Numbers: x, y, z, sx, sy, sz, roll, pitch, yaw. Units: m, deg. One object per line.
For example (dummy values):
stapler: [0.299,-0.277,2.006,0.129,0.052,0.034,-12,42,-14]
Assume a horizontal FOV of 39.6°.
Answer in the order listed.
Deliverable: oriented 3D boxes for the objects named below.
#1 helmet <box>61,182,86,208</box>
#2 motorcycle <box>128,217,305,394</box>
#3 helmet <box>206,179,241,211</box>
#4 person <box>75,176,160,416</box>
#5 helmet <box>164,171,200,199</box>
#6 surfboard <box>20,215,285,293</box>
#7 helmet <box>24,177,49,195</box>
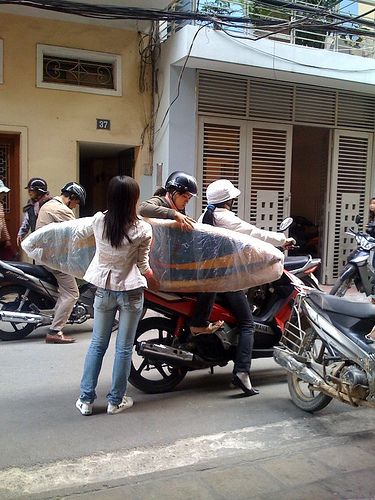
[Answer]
helmet: [-1.184,-0.604,5.463,0.222,0.247,0.276,16,-3,15]
motorcycle: [0.360,0.493,4.037,1.832,1.105,0.665,-1,7,-31]
helmet: [0.250,-0.457,4.106,0.313,0.176,0.361,-7,13,12]
person: [-0.466,0.304,3.358,0.488,1.547,0.335,3,2,34]
helmet: [-0.051,-0.488,3.790,0.227,0.204,0.298,1,2,-4]
surfboard: [-0.336,-0.009,3.854,1.963,0.576,0.619,6,17,2]
helmet: [-1.755,-0.773,6.121,0.218,0.113,0.157,2,5,-33]
